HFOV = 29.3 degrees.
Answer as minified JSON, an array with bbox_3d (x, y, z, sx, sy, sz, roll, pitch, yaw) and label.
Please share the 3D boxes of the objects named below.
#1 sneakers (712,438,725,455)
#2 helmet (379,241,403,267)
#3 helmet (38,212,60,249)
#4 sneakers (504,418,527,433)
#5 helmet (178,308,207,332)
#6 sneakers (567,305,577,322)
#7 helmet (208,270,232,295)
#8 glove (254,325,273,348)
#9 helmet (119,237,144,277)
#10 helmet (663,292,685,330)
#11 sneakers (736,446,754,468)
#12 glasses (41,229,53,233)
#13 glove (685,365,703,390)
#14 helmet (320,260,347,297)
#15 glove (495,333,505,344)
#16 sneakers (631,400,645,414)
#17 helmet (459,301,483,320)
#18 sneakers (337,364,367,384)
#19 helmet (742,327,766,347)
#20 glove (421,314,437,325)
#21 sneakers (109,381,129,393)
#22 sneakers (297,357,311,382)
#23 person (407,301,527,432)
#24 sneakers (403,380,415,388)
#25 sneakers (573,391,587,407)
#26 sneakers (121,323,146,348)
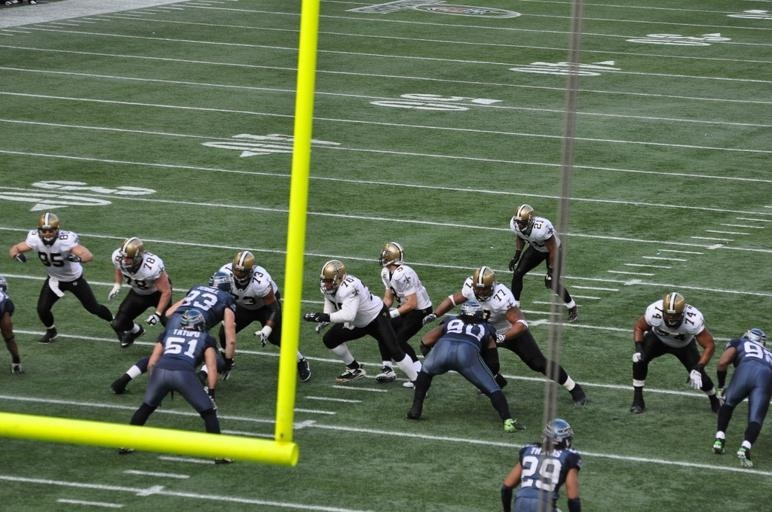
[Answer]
[{"bbox_3d":[3.542,2.053,15.869,0.132,0.163,0.086,-2,-9,24],"label":"sneakers"},{"bbox_3d":[0.008,-0.016,17.395,0.357,0.230,0.251,5,8,19],"label":"helmet"},{"bbox_3d":[-4.016,-0.312,17.693,0.235,0.354,0.223,0,7,-20],"label":"helmet"},{"bbox_3d":[1.375,1.868,16.130,0.276,0.111,0.100,-4,51,22],"label":"sneakers"},{"bbox_3d":[-2.051,0.696,15.782,0.274,0.225,0.228,1,6,-8],"label":"helmet"},{"bbox_3d":[2.307,0.726,18.372,0.088,0.097,0.225,-8,35,39],"label":"sneakers"},{"bbox_3d":[-1.906,0.316,16.853,0.251,0.219,0.289,4,-16,-44],"label":"helmet"},{"bbox_3d":[-1.369,0.923,16.882,0.278,0.105,0.265,38,-17,23],"label":"glove"},{"bbox_3d":[-2.962,0.024,17.270,0.349,0.342,0.376,9,44,-3],"label":"helmet"},{"bbox_3d":[3.153,0.611,16.316,0.246,0.383,0.189,4,7,8],"label":"helmet"},{"bbox_3d":[3.768,2.148,15.715,0.118,0.265,0.141,-7,25,49],"label":"sneakers"},{"bbox_3d":[-4.012,-0.292,17.612,0.113,0.037,0.020,1,7,-11],"label":"glasses"},{"bbox_3d":[3.377,1.354,16.207,0.230,0.208,0.073,1,-18,3],"label":"glove"},{"bbox_3d":[-0.602,0.270,16.841,0.266,0.392,0.195,3,7,-1],"label":"helmet"},{"bbox_3d":[1.257,0.933,16.514,0.162,0.066,0.224,-3,4,5],"label":"glove"},{"bbox_3d":[2.796,1.702,16.524,0.161,0.070,0.212,2,7,9],"label":"sneakers"},{"bbox_3d":[0.935,0.612,16.397,0.279,0.150,0.178,-3,3,6],"label":"helmet"},{"bbox_3d":[-0.398,1.376,17.068,0.444,0.153,0.125,-9,34,4],"label":"sneakers"},{"bbox_3d":[4.026,0.897,16.195,0.329,0.191,0.212,10,2,6],"label":"helmet"},{"bbox_3d":[0.477,0.761,17.157,0.206,0.066,0.086,-32,13,-6],"label":"glove"},{"bbox_3d":[-2.987,1.485,16.562,0.153,0.149,0.173,-26,20,-37],"label":"sneakers"},{"bbox_3d":[-0.951,1.320,17.054,0.150,0.110,0.295,31,31,-26],"label":"sneakers"},{"bbox_3d":[0.755,1.213,16.502,1.541,0.753,1.723,10,26,-6],"label":"person"},{"bbox_3d":[0.248,1.496,16.984,0.157,0.049,0.055,5,5,-1],"label":"sneakers"},{"bbox_3d":[2.161,1.611,16.607,0.175,0.216,0.205,-8,-5,12],"label":"sneakers"},{"bbox_3d":[-3.030,0.959,17.666,0.415,0.136,0.162,-31,13,0],"label":"sneakers"}]
